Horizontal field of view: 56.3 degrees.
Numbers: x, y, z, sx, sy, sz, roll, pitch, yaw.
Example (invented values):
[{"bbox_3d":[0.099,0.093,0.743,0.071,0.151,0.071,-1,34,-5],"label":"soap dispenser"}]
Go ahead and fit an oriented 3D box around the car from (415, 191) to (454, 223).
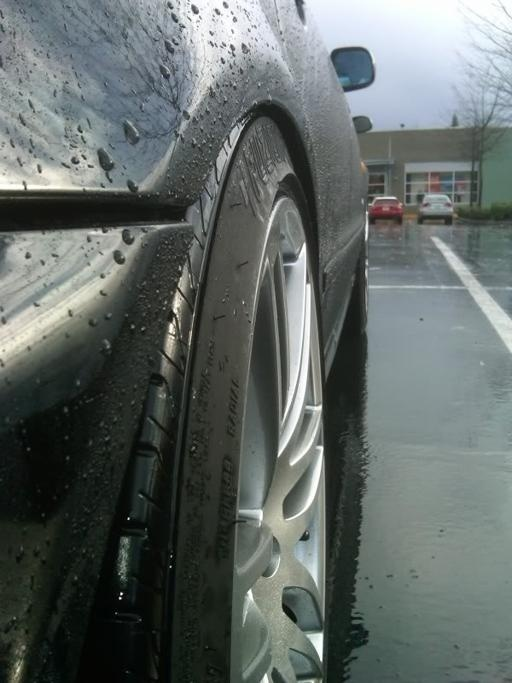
[{"bbox_3d":[11.886,-8.817,31.735,1.943,2.029,3.223,2,12,17],"label":"car"}]
